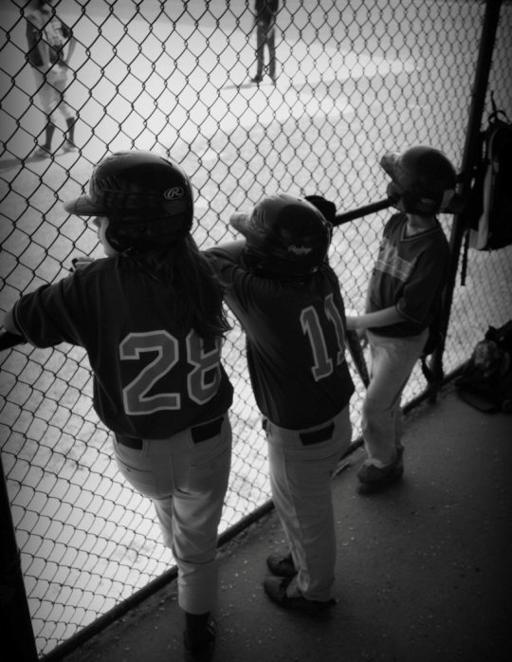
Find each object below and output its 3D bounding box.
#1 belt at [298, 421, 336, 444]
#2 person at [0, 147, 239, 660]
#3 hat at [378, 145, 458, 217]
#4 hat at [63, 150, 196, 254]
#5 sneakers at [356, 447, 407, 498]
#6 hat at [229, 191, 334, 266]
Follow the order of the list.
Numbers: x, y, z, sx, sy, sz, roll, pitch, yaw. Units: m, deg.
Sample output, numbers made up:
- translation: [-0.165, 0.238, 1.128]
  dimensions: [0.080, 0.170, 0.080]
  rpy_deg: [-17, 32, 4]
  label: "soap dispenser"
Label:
- translation: [0.204, 0.343, 2.154]
  dimensions: [0.073, 0.038, 0.097]
  rpy_deg: [-18, 7, -24]
  label: "belt"
- translation: [-0.296, 0.327, 2.059]
  dimensions: [0.420, 1.696, 0.563]
  rpy_deg: [12, 33, 28]
  label: "person"
- translation: [0.674, -0.622, 2.734]
  dimensions: [0.309, 0.266, 0.225]
  rpy_deg: [2, 30, 13]
  label: "hat"
- translation: [-0.347, -0.350, 1.836]
  dimensions: [0.330, 0.225, 0.236]
  rpy_deg: [-8, 45, -14]
  label: "hat"
- translation: [0.570, 0.640, 3.156]
  dimensions: [0.251, 0.238, 0.158]
  rpy_deg: [-20, 35, -20]
  label: "sneakers"
- translation: [0.083, -0.277, 1.998]
  dimensions: [0.260, 0.189, 0.184]
  rpy_deg: [18, 53, 15]
  label: "hat"
